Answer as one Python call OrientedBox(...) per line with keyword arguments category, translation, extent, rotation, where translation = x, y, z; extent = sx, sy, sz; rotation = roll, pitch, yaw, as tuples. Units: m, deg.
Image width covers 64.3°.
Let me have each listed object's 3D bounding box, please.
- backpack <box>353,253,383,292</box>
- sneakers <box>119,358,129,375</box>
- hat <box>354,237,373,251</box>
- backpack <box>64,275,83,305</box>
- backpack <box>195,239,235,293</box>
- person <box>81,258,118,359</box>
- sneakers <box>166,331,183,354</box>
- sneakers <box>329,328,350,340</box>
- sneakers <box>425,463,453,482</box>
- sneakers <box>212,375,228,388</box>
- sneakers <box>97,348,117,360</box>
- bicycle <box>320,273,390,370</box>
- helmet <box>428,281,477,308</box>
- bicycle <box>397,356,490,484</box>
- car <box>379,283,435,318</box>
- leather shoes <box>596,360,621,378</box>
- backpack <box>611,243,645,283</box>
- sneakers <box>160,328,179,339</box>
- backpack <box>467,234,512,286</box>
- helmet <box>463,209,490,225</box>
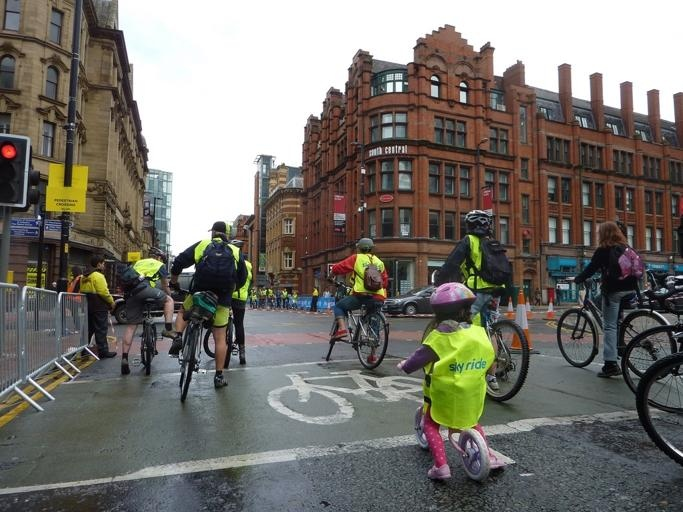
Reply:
OrientedBox(category="backpack", translation=(0.425, 0.312, 9.095), extent=(0.444, 0.634, 0.342), rotation=(5, -21, -17))
OrientedBox(category="sneakers", translation=(-3.524, 1.816, 8.733), extent=(0.145, 0.246, 0.233), rotation=(1, -14, -14))
OrientedBox(category="hat", translation=(0.390, -0.180, 9.169), extent=(0.204, 0.267, 0.255), rotation=(1, 8, -8))
OrientedBox(category="backpack", translation=(-5.363, 0.698, 10.893), extent=(0.369, 0.545, 0.532), rotation=(4, -14, -16))
OrientedBox(category="backpack", translation=(-1.728, 0.172, 7.402), extent=(0.477, 0.708, 0.372), rotation=(9, -31, -21))
OrientedBox(category="person", translation=(-4.860, 1.009, 10.843), extent=(0.660, 2.010, 1.020), rotation=(0, -1, -26))
OrientedBox(category="sneakers", translation=(-2.251, 1.208, 7.428), extent=(0.167, 0.289, 0.439), rotation=(0, 0, -16))
OrientedBox(category="sneakers", translation=(-0.025, 1.321, 9.129), extent=(0.142, 0.183, 0.389), rotation=(1, -6, -36))
OrientedBox(category="sneakers", translation=(0.852, 1.871, 4.706), extent=(0.211, 0.141, 0.130), rotation=(0, 0, 4))
OrientedBox(category="sneakers", translation=(-1.680, 1.768, 7.576), extent=(0.241, 0.185, 0.086), rotation=(0, 2, -38))
OrientedBox(category="sneakers", translation=(-4.625, 1.932, 10.667), extent=(0.390, 0.193, 0.152), rotation=(1, 6, -11))
OrientedBox(category="bicycle", translation=(0.351, 1.354, 9.083), extent=(0.667, 1.061, 1.258), rotation=(0, 0, -25))
OrientedBox(category="helmet", translation=(1.016, 0.360, 5.067), extent=(0.314, 0.174, 0.234), rotation=(-9, 2, -8))
OrientedBox(category="bicycle", translation=(1.034, 1.645, 5.127), extent=(0.525, 0.751, 1.120), rotation=(-4, -3, -13))
OrientedBox(category="car", translation=(2.911, 2.132, 24.165), extent=(2.503, 1.253, 1.492), rotation=(4, -8, -19))
OrientedBox(category="leather shoes", translation=(3.973, 1.700, 8.055), extent=(0.161, 0.205, 0.398), rotation=(-1, -4, 9))
OrientedBox(category="backpack", translation=(4.138, 0.140, 7.850), extent=(0.377, 0.748, 0.644), rotation=(0, -1, 32))
OrientedBox(category="sneakers", translation=(-2.510, 1.155, 7.938), extent=(0.165, 0.209, 0.461), rotation=(3, -11, -25))
OrientedBox(category="backpack", translation=(1.955, 0.077, 7.120), extent=(0.446, 0.733, 0.695), rotation=(9, -15, -41))
OrientedBox(category="helmet", translation=(1.807, -0.558, 7.373), extent=(0.311, 0.189, 0.258), rotation=(2, -1, 33))
